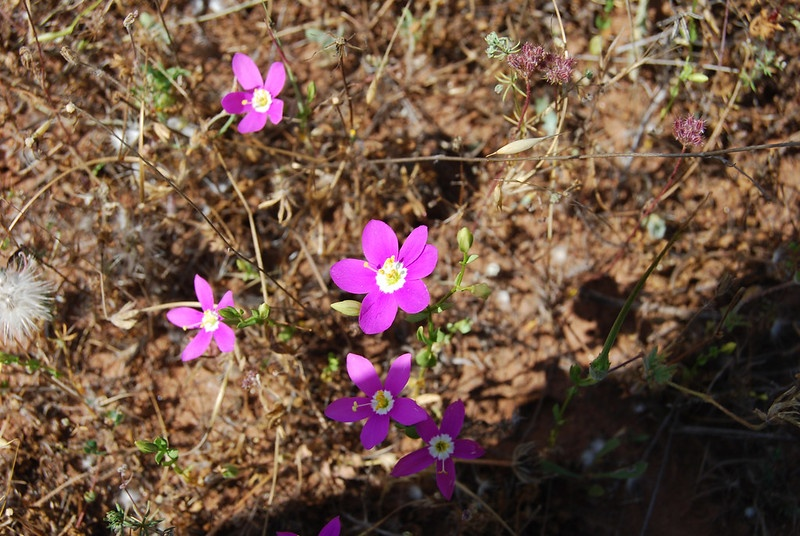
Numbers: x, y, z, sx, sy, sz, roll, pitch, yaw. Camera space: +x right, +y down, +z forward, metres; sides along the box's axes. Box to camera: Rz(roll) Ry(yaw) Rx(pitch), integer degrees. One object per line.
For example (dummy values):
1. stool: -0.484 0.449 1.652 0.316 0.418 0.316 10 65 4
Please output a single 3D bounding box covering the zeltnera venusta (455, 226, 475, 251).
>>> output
1. zeltnera venusta: 0.370 -0.181 3.959 0.077 0.067 0.149 8 98 5
